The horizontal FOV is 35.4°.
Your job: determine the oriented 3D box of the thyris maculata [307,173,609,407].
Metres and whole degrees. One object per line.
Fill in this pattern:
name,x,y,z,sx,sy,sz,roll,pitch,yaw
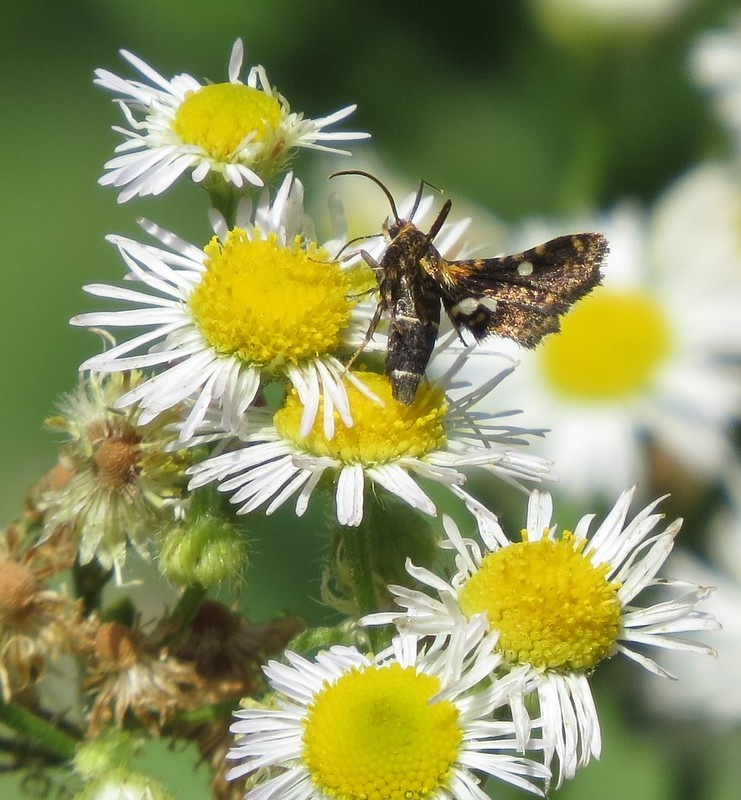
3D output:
thyris maculata,0.072,-0.109,1.136,0.135,0.273,0.260,-8,82,-26
